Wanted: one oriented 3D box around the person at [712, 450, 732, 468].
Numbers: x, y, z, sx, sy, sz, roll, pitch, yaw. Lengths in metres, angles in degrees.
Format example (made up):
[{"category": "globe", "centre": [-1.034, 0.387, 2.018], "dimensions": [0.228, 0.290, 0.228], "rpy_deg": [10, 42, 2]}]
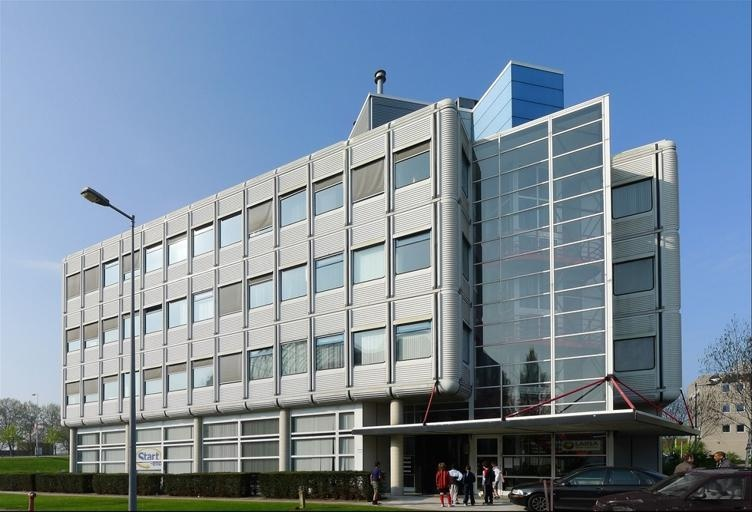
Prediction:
[{"category": "person", "centre": [17.305, 10.081, 51.849], "dimensions": [0.554, 1.156, 2.521], "rpy_deg": [-7, -22, 12]}]
